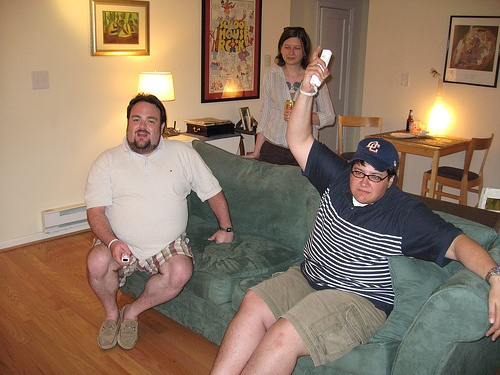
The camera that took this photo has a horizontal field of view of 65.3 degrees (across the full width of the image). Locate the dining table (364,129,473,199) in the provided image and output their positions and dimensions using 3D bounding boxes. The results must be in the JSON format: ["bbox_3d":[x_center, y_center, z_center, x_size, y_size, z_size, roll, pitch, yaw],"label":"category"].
[{"bbox_3d":[2.011,-0.453,4.554,0.947,0.920,0.980,19,30,36],"label":"dining table"}]

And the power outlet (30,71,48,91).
[{"bbox_3d":[-1.942,-0.987,3.613,0.160,0.155,0.038,-14,14,-41],"label":"power outlet"}]

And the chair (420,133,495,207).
[{"bbox_3d":[2.262,-0.211,4.200,0.521,0.894,0.572,-20,30,-38],"label":"chair"}]

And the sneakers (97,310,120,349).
[{"bbox_3d":[-0.891,0.901,2.470,0.082,0.077,0.209,0,28,-3],"label":"sneakers"}]

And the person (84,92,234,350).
[{"bbox_3d":[-0.605,0.180,2.641,0.791,1.453,1.115,19,20,40],"label":"person"}]

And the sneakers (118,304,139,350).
[{"bbox_3d":[-0.772,0.882,2.440,0.081,0.081,0.218,-1,61,-11],"label":"sneakers"}]

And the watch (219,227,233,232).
[{"bbox_3d":[-0.167,0.287,2.732,0.045,0.017,0.043,-5,12,-36],"label":"watch"}]

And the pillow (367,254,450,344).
[{"bbox_3d":[0.758,0.527,1.833,0.373,0.404,0.160,-4,22,-14],"label":"pillow"}]

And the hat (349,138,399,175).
[{"bbox_3d":[0.624,-0.150,1.951,0.153,0.115,0.213,27,11,38],"label":"hat"}]

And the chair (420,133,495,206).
[{"bbox_3d":[2.274,-0.221,4.231,0.523,0.897,0.579,-20,30,-37],"label":"chair"}]
